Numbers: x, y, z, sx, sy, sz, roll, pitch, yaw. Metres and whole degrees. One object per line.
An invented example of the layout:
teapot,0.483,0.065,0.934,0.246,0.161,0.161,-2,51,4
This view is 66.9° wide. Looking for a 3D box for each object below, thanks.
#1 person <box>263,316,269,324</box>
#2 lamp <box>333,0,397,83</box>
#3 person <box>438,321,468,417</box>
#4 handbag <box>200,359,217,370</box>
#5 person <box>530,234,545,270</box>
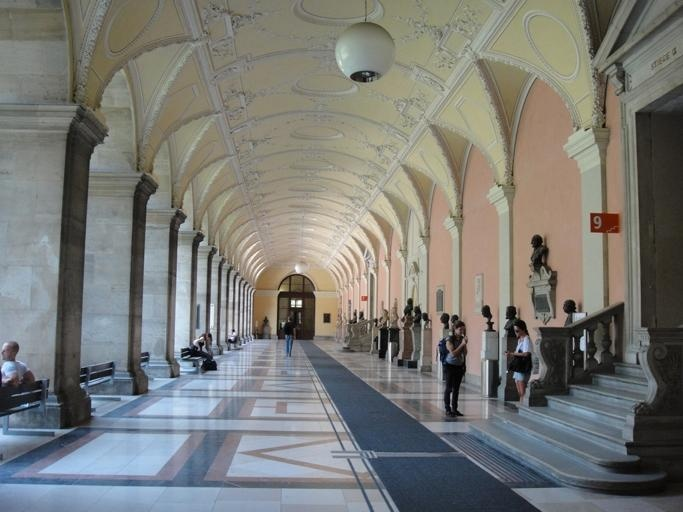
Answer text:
person,-7.654,6.580,52.293,0.623,0.823,0.216,1,-6,1
lamp,0.314,-2.709,6.860,0.753,0.737,0.396,0,-6,0
person,2.127,2.077,9.812,0.444,1.661,1.327,-1,-7,11
handbag,-4.119,3.380,16.069,0.408,0.417,0.303,2,-11,2
person,4.075,-0.038,10.651,0.283,0.757,0.368,0,-6,1
